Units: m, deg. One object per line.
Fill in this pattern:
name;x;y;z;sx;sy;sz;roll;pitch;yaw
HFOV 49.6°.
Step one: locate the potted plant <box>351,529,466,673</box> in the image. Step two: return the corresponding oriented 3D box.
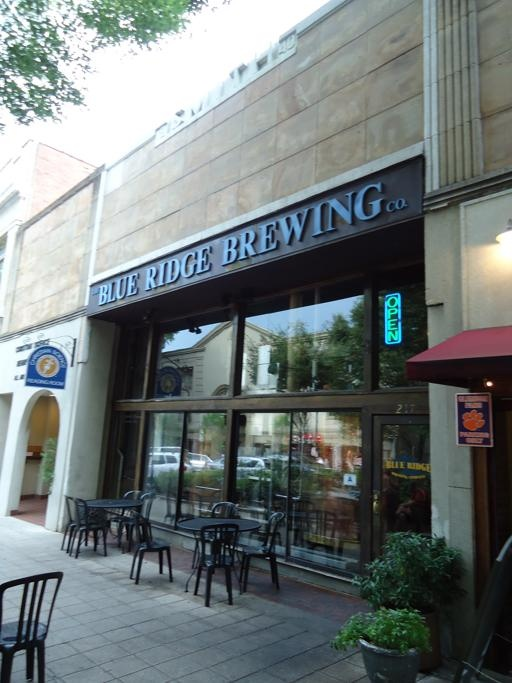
potted plant;1.371;2.273;5.217;0.996;1.273;1.152;1;-5;-18
